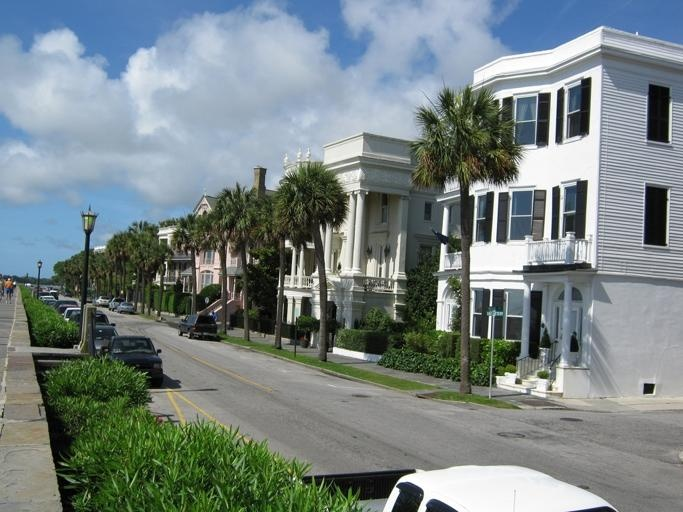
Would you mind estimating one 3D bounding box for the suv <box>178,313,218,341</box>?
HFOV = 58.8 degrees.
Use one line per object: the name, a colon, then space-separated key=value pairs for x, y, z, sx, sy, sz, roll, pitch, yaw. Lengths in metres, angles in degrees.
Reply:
suv: x=-11.962 y=5.805 z=50.285 sx=1.677 sy=1.730 sz=3.711 roll=3 pitch=0 yaw=-25
